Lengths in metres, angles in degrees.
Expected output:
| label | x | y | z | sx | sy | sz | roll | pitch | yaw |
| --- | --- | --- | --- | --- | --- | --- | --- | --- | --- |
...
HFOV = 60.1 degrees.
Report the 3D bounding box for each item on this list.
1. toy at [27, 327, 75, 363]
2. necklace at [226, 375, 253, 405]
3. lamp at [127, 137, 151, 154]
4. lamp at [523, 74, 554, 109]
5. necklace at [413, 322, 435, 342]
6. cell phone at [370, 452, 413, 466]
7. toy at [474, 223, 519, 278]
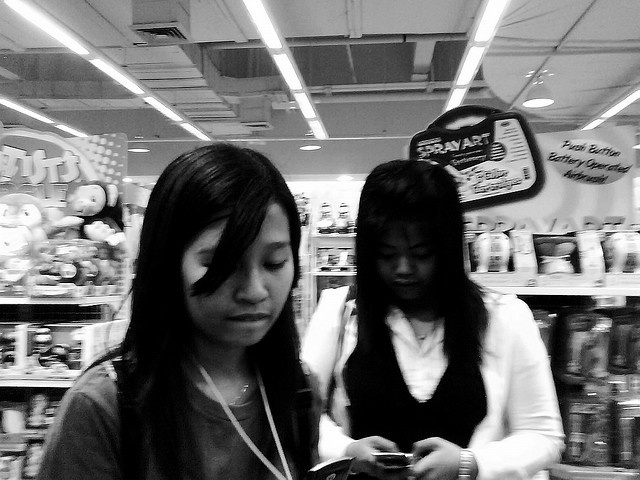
| label | x | y | z | sx | sy | sz | roll | pitch | yaw |
| --- | --- | --- | --- | --- | --- | --- | --- | --- | --- |
| toy | -1.469 | 0.590 | 3.078 | 0.239 | 0.207 | 0.055 | 0 | -11 | 2 |
| necklace | -0.189 | 0.346 | 1.276 | 0.040 | 0.050 | 0.048 | 37 | 44 | 26 |
| lamp | -3.145 | -1.655 | 9.591 | 0.462 | 0.226 | 0.293 | 0 | 4 | -1 |
| lamp | 2.914 | -1.981 | 7.415 | 0.342 | 0.332 | 0.332 | 5 | 10 | 16 |
| necklace | 0.328 | 0.301 | 1.788 | 0.064 | 0.055 | 0.060 | 10 | -25 | -14 |
| cell phone | 0.207 | 0.625 | 1.581 | 0.105 | 0.040 | 0.031 | 0 | 9 | 2 |
| toy | 0.783 | 0.058 | 2.494 | 0.159 | 0.191 | 0.199 | -1 | -15 | 7 |
